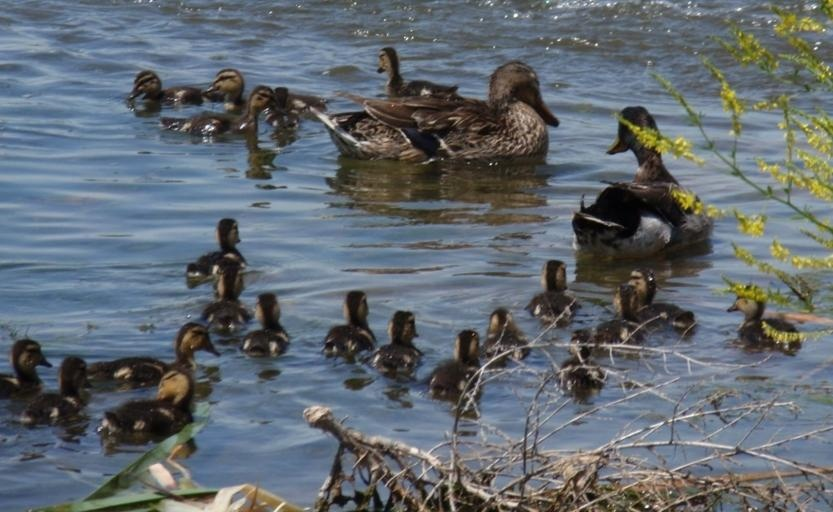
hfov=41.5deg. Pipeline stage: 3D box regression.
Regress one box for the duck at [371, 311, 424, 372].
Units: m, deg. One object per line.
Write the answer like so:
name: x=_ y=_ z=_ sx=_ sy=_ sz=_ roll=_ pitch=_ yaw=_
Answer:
duck: x=-0.248 y=0.996 z=12.749 sx=0.618 sy=0.636 sz=0.507 roll=0 pitch=15 yaw=-2

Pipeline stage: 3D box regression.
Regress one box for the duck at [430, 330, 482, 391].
duck: x=0.485 y=1.264 z=12.607 sx=0.549 sy=0.484 sz=1.388 roll=0 pitch=17 yaw=17

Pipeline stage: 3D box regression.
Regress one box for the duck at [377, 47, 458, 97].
duck: x=0.130 y=-3.442 z=21.261 sx=1.974 sy=1.127 sz=0.717 roll=10 pitch=30 yaw=32

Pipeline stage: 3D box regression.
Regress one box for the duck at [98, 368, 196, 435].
duck: x=-2.949 y=1.627 z=11.999 sx=0.718 sy=0.624 sz=1.122 roll=17 pitch=15 yaw=29

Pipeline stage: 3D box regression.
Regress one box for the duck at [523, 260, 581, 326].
duck: x=1.703 y=0.446 z=13.729 sx=0.662 sy=0.655 sz=0.927 roll=3 pitch=14 yaw=11

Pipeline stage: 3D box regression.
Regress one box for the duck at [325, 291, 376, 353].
duck: x=-0.779 y=0.804 z=13.046 sx=0.588 sy=0.662 sz=0.640 roll=4 pitch=15 yaw=14

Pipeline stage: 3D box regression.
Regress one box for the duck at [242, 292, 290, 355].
duck: x=-1.819 y=0.890 z=13.106 sx=0.725 sy=0.635 sz=1.010 roll=3 pitch=19 yaw=-1

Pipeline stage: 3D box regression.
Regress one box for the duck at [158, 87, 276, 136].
duck: x=-3.628 y=-2.655 z=20.117 sx=2.027 sy=0.895 sz=0.734 roll=-2 pitch=15 yaw=-10

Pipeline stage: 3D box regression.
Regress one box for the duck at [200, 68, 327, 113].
duck: x=-3.160 y=-3.231 z=22.302 sx=2.494 sy=0.855 sz=0.770 roll=0 pitch=29 yaw=-35

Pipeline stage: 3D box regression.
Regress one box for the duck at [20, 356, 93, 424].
duck: x=-3.992 y=1.548 z=12.024 sx=0.488 sy=0.694 sz=1.122 roll=7 pitch=9 yaw=13
